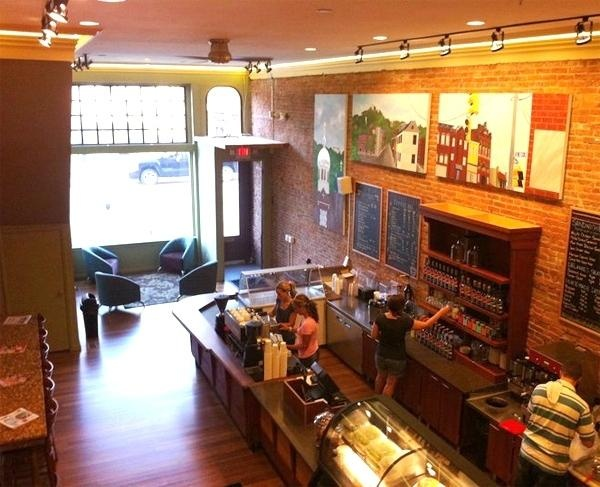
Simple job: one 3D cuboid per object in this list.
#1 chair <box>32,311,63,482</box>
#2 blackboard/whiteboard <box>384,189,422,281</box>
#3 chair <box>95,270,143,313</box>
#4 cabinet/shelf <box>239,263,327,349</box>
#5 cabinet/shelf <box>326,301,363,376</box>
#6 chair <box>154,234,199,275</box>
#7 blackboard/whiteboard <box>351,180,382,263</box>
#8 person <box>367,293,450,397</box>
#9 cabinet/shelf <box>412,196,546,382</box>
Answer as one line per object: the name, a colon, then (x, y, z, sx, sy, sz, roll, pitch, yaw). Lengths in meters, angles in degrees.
chair: (-2.949, 1.783, 5.583, 0.310, 0.463, 1.964, 1, 52, -27)
blackboard/whiteboard: (1.597, -0.152, 7.312, 0.049, 1.586, 1.104, -5, 13, -21)
chair: (-3.694, 0.947, 9.881, 0.794, 0.769, 0.772, 13, 17, 43)
cabinet/shelf: (-0.302, 1.327, 7.881, 1.645, 1.761, 0.940, -4, 10, -17)
cabinet/shelf: (0.726, 1.493, 7.570, 0.573, 0.795, 0.799, -4, 20, -22)
chair: (-3.133, 0.356, 12.540, 0.883, 1.033, 0.918, 5, 10, 25)
blackboard/whiteboard: (1.162, -0.404, 8.147, 0.054, 1.704, 1.173, -2, 8, -23)
person: (1.400, 1.495, 6.396, 0.871, 1.717, 0.506, 12, 21, 25)
cabinet/shelf: (2.200, 0.585, 5.740, 0.578, 2.226, 1.908, -2, 12, -17)
